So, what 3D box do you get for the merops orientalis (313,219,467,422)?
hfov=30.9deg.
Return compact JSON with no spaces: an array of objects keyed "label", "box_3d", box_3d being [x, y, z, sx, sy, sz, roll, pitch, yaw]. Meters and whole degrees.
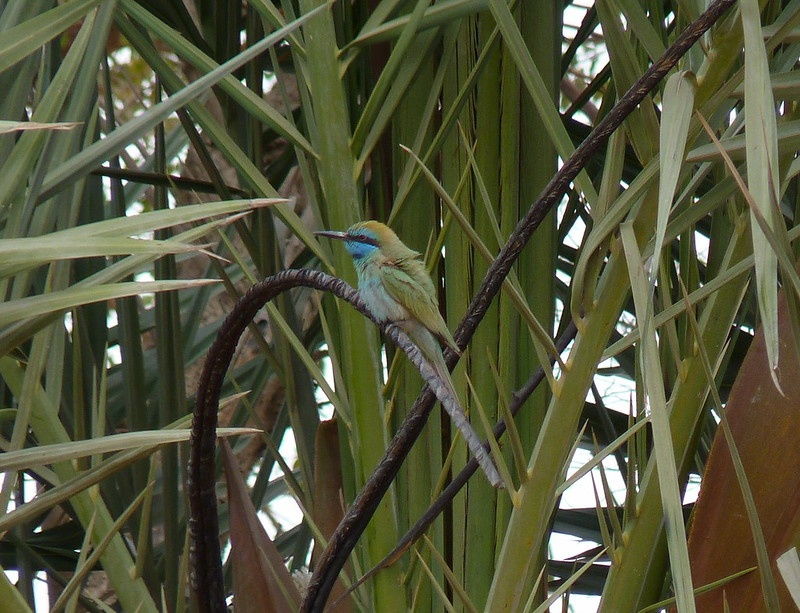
[{"label":"merops orientalis","box_3d":[-0.033,0.025,4.629,0.349,0.766,0.736,-4,-24,-1]}]
